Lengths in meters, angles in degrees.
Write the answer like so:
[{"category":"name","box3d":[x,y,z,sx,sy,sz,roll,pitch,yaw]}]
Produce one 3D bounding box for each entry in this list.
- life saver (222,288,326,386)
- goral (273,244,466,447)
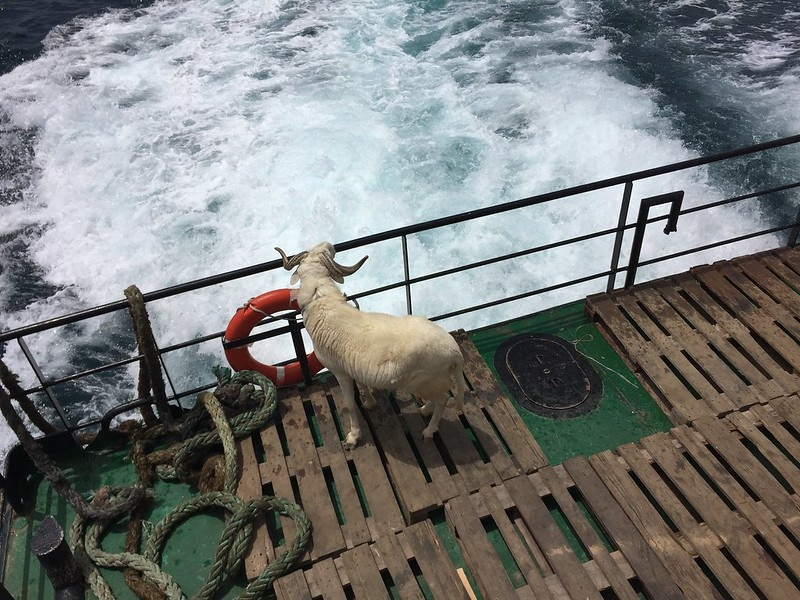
[{"category":"life saver","box3d":[-1.596,0.431,6.833,1.088,1.158,0.297,1,15,-5]},{"category":"goral","box3d":[-0.256,0.572,6.253,1.873,1.560,0.850,30,62,26]}]
